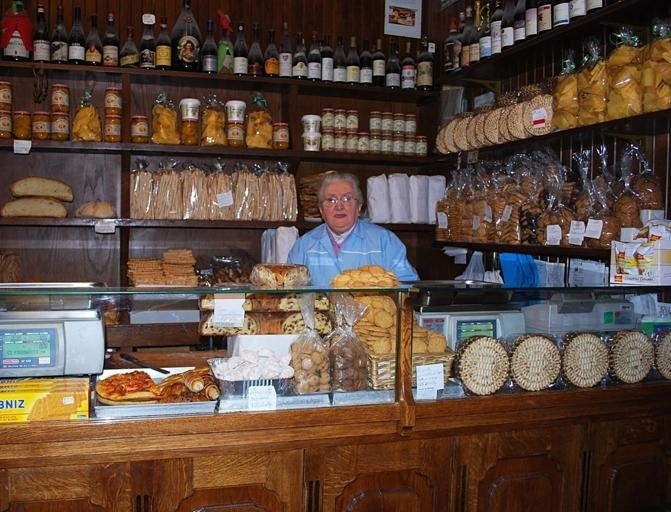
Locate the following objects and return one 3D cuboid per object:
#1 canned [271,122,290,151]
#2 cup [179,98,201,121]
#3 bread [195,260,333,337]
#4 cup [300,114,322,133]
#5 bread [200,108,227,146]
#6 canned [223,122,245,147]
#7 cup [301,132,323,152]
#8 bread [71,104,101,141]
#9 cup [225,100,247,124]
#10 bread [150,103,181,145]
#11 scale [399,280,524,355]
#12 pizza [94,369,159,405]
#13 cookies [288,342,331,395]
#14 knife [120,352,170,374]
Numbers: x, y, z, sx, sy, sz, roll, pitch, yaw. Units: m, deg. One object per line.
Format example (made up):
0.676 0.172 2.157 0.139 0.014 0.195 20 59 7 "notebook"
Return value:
-0.350 -0.768 3.883 0.164 0.210 0.154 0 -3 1 "canned"
-0.901 -0.909 3.801 0.145 0.114 0.150 1 1 0 "cup"
-0.242 0.155 2.101 0.449 0.245 0.243 -1 0 -9 "bread"
-0.157 -0.870 3.997 0.135 0.088 0.125 0 8 0 "cup"
-0.775 -0.808 3.818 0.173 0.230 0.085 2 -4 0 "bread"
-0.623 -0.759 3.813 0.155 0.206 0.143 0 -3 -2 "canned"
-0.155 -0.746 3.949 0.140 0.101 0.130 -1 4 0 "cup"
-1.510 -0.791 3.661 0.188 0.215 0.081 4 0 -9 "bread"
-0.622 -0.903 3.844 0.154 0.131 0.146 0 1 0 "cup"
-1.043 -0.804 3.742 0.182 0.248 0.092 0 0 -27 "bread"
0.476 0.206 2.202 0.306 0.155 0.300 0 -1 -13 "scale"
-0.664 0.425 1.936 0.125 0.035 0.118 0 7 -26 "pizza"
-0.081 0.373 2.020 0.169 0.150 0.052 -2 1 -18 "cookies"
-0.691 0.391 2.186 0.134 0.013 0.022 21 35 3 "knife"
